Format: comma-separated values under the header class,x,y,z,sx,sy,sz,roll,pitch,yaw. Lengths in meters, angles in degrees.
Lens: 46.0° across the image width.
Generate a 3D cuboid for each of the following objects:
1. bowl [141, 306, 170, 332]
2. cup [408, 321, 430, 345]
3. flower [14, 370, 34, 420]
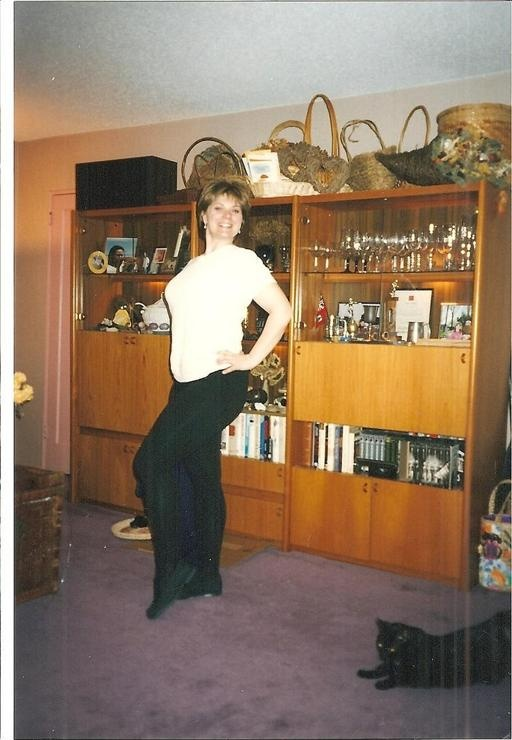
class,x,y,z,sx,sy,sz,roll,pitch,yaw
bowl,-0.174,-0.092,1.055,0.048,0.046,0.045,2,16,0
cup,0.261,-0.055,0.972,0.038,0.036,0.024,1,10,14
flower,-0.444,0.042,1.150,0.043,0.070,0.069,1,-18,-12
